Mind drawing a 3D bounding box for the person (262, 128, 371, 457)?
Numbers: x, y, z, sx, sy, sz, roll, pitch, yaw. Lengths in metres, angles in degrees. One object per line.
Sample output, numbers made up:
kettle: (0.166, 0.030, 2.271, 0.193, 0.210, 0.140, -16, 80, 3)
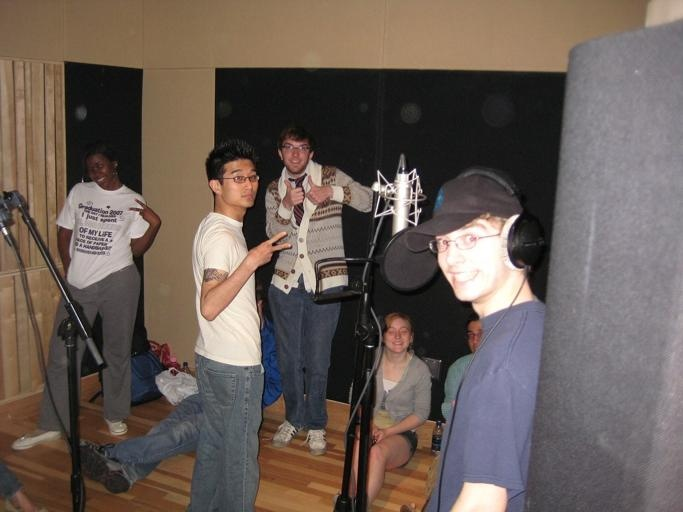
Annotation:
person: (-0.149, 0.242, 3.762, 0.705, 2.132, 0.639, 0, 13, -5)

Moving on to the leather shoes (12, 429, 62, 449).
leather shoes: (-1.851, 1.098, 3.564, 0.224, 0.085, 0.085, 6, 4, -37)

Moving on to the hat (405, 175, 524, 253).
hat: (0.301, -0.114, 1.492, 0.329, 0.169, 0.213, -1, -13, -29)

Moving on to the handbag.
handbag: (-1.390, 0.865, 4.231, 0.247, 0.360, 0.204, -17, -18, 9)

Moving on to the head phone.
head phone: (0.396, -0.091, 1.476, 0.220, 0.252, 0.219, 6, 8, 15)

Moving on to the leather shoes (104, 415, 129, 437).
leather shoes: (-1.432, 1.079, 3.769, 0.142, 0.102, 0.078, 1, 5, 20)

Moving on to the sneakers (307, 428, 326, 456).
sneakers: (-0.152, 1.143, 3.626, 0.098, 0.106, 0.132, 2, 8, -11)
